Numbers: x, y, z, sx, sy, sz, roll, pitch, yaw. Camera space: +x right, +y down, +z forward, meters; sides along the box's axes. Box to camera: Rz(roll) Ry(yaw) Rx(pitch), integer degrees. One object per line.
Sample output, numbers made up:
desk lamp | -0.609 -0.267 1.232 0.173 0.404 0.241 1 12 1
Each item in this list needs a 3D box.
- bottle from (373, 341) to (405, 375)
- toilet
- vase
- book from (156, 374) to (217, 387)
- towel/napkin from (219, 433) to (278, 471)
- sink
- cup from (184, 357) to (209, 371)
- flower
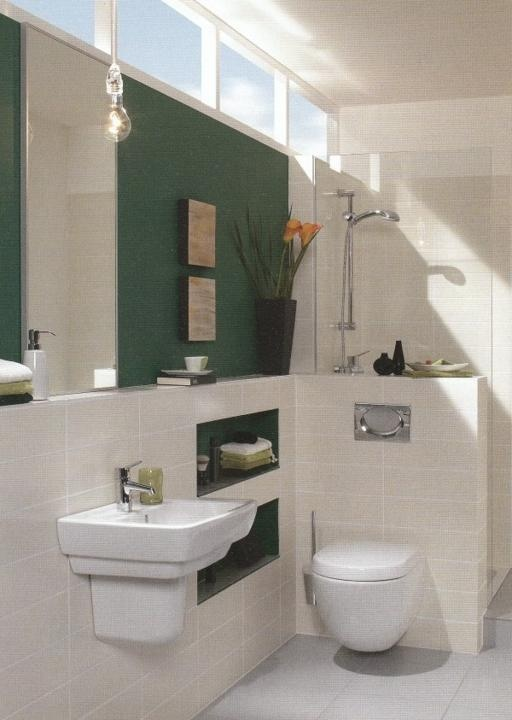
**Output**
bottle | 0.609 -0.009 3.109 0.176 0.162 0.122 8 -10 -43
toilet | 0.449 0.900 2.728 0.349 0.298 0.453 -3 -5 20
vase | 0.082 -0.104 3.142 0.176 0.348 0.146 1 -4 9
book | -0.230 0.066 2.365 0.216 0.049 0.141 2 -4 -17
towel/napkin | -0.037 0.364 2.817 0.139 0.063 0.188 4 4 25
sink | -0.232 0.448 1.718 0.346 0.180 0.381 0 -4 19
cup | -0.212 0.009 2.456 0.058 0.042 0.065 -4 7 -44
flower | 0.057 -0.495 3.124 0.413 0.445 0.337 3 -4 -16
